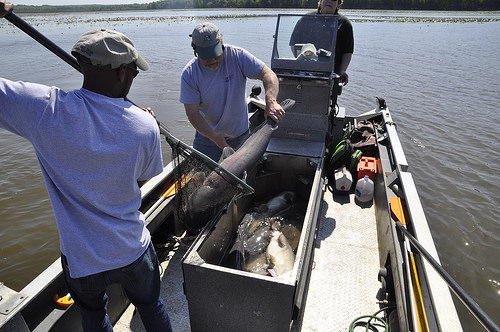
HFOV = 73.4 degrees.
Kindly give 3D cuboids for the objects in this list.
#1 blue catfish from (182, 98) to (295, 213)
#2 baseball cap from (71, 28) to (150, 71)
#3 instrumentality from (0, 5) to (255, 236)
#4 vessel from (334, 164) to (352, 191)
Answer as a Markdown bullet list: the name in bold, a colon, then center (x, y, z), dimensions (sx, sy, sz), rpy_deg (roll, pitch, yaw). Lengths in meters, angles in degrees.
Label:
- **blue catfish**: center (-0.020, -0.129, 3.940), dimensions (0.610, 0.476, 1.806), rpy_deg (6, 53, 45)
- **baseball cap**: center (-1.125, -0.963, 2.660), dimensions (0.322, 0.265, 0.454), rpy_deg (31, 37, 33)
- **instrumentality**: center (-0.549, 0.135, 3.375), dimensions (1.129, 3.568, 0.497), rpy_deg (-5, 44, 41)
- **vessel**: center (1.550, 0.241, 5.585), dimensions (0.270, 0.411, 0.407), rpy_deg (7, 22, 12)
